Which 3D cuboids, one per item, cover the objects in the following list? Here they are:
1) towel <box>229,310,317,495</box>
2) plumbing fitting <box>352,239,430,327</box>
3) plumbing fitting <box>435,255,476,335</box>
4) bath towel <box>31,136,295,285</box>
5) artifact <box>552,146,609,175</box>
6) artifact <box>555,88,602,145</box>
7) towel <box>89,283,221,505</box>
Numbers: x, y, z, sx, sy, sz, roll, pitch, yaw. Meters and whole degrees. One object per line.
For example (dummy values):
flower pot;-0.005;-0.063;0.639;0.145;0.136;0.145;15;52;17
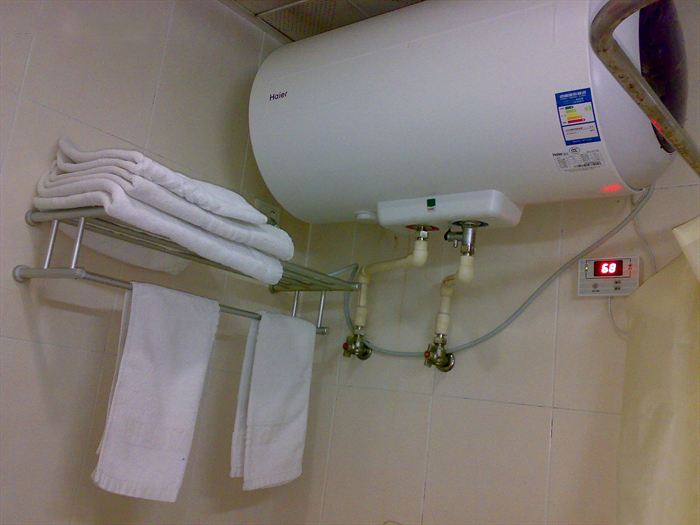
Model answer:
towel;-0.235;0.417;1.772;0.081;0.506;0.301;-11;-14;42
plumbing fitting;0.135;0.082;1.879;0.148;0.242;0.432;4;-14;-26
plumbing fitting;0.310;0.093;1.741;0.133;0.238;0.231;-4;-12;12
bath towel;-0.437;-0.128;1.473;0.428;0.177;0.365;24;-11;-35
artifact;0.543;-0.242;1.389;0.111;0.042;0.053;-8;-13;22
artifact;0.521;-0.331;1.339;0.080;0.108;0.071;-9;-13;32
towel;-0.486;0.328;1.464;0.103;0.577;0.298;-1;-11;43
